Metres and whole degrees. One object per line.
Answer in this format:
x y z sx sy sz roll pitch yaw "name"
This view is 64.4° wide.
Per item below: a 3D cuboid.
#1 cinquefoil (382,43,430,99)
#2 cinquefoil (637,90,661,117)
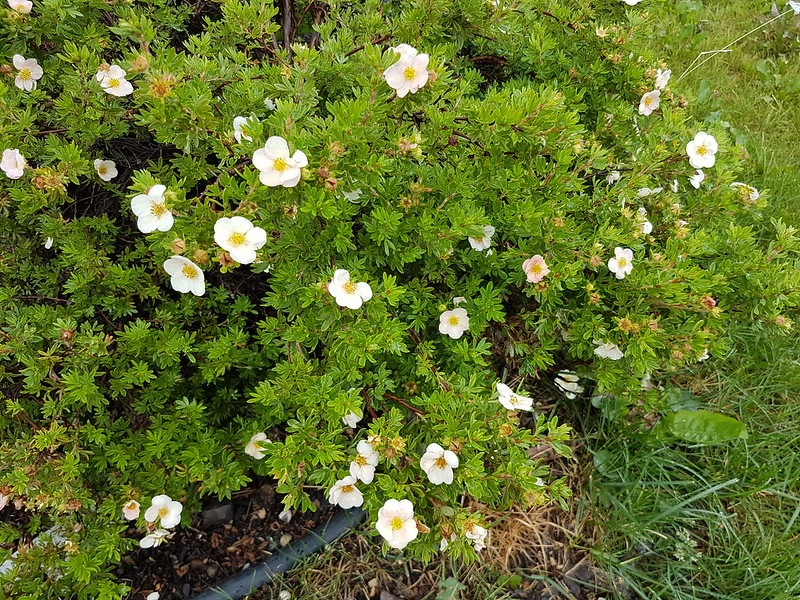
0.027 -1.023 2.854 0.207 0.192 0.154 8 -4 0 "cinquefoil"
1.407 -1.119 3.626 0.113 0.130 0.052 0 36 -27 "cinquefoil"
